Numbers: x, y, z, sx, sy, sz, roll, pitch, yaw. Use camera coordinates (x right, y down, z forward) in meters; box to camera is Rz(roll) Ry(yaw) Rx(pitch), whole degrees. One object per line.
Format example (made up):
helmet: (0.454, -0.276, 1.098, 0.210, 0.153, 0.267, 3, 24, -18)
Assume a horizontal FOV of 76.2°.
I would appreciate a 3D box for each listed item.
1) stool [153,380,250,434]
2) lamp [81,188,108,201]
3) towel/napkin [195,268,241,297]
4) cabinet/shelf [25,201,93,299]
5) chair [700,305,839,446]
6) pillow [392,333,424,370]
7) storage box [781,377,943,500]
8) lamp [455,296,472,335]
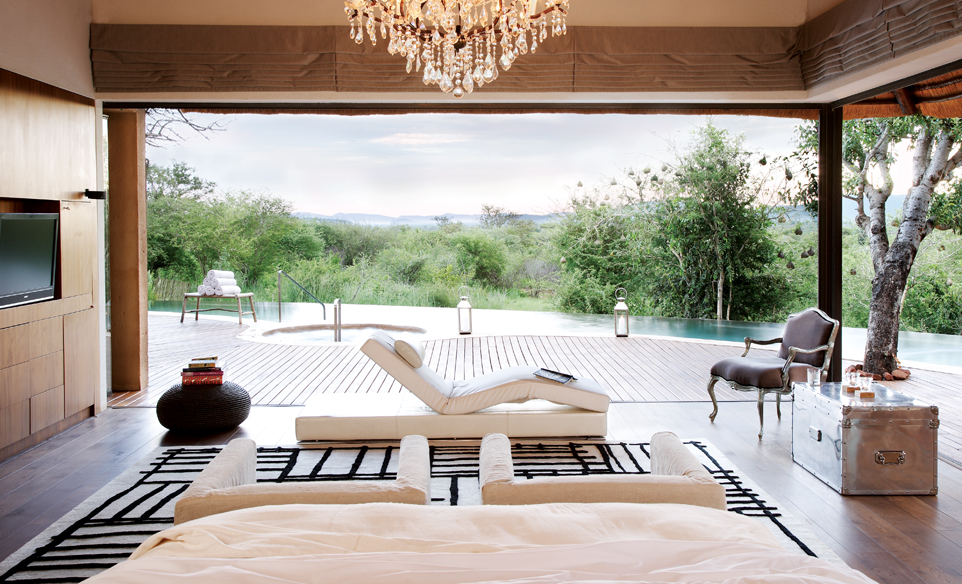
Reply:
stool: (-2.735, 1.121, 5.970, 0.657, 0.319, 0.595, 0, -1, -6)
lamp: (-4.069, -1.032, 6.427, 0.154, 0.067, 0.106, 0, 0, -12)
towel/napkin: (-5.406, -0.144, 12.676, 0.741, 0.424, 0.704, -1, -2, 18)
cabinet/shelf: (-4.255, -0.295, 6.149, 0.290, 0.718, 0.811, -2, 0, -10)
chair: (2.978, 0.762, 6.281, 1.022, 1.112, 0.846, -2, 3, -15)
pillow: (-0.698, 0.544, 5.755, 0.240, 0.115, 0.322, 6, 27, -49)
storage box: (3.220, 1.222, 5.427, 0.844, 0.726, 1.260, -1, 2, -2)
lamp: (-0.316, 0.395, 11.555, 0.257, 0.673, 0.695, 1, 5, -1)
